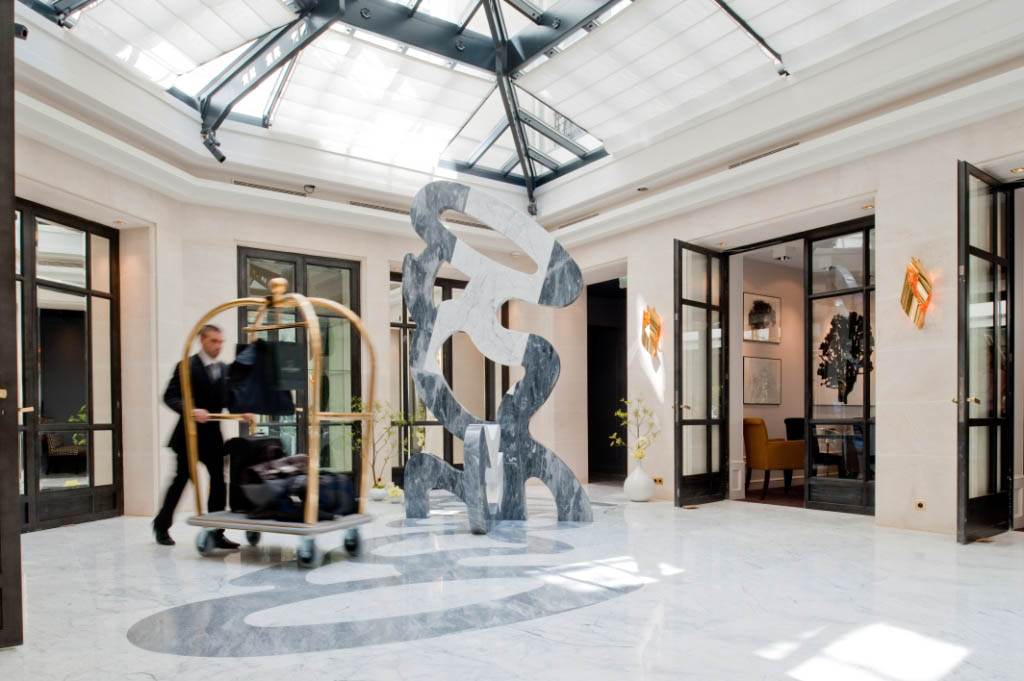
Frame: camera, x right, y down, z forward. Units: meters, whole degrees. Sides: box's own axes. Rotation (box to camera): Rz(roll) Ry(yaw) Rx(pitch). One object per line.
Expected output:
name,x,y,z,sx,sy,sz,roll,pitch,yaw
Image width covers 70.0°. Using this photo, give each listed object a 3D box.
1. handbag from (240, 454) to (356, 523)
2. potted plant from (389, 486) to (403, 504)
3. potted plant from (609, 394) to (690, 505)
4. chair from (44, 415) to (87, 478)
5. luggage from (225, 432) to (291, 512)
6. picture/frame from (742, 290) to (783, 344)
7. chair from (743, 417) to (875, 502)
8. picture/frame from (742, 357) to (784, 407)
handbag,-2.032,1.388,6.857,0.714,0.300,0.699,3,-4,-32
potted plant,-1.664,2.198,10.495,0.202,0.190,0.739,1,-9,-8
potted plant,1.768,1.505,10.292,0.492,1.435,0.576,7,-11,-39
chair,-5.329,1.242,8.725,0.375,0.634,0.366,0,1,-10
luggage,-2.467,1.322,7.088,0.544,0.904,0.482,6,-23,-23
picture/frame,4.015,-0.347,11.562,0.783,0.764,0.016,2,-4,-21
chair,4.003,1.615,10.673,1.092,1.190,0.873,0,-1,-16
picture/frame,3.997,0.638,11.512,0.775,0.742,0.016,4,-4,-22
